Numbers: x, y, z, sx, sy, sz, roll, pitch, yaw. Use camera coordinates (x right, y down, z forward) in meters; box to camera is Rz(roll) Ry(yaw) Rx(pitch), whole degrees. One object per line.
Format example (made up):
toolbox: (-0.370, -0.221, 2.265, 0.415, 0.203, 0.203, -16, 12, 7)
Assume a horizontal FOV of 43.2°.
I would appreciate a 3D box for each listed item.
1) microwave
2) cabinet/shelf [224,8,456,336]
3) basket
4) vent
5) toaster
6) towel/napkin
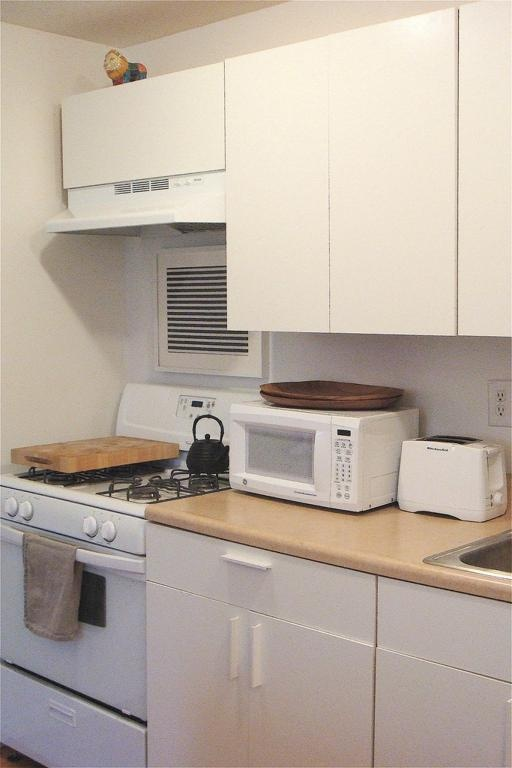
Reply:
microwave: (0.182, 0.119, 1.709, 0.405, 0.259, 0.383, 7, 12, 40)
cabinet/shelf: (0.276, -0.457, 1.613, 0.641, 0.690, 0.358, 8, 17, 36)
basket: (0.214, -0.005, 1.745, 0.313, 0.071, 0.272, 6, 10, 42)
vent: (-0.375, -0.758, 2.063, 0.728, 0.478, 0.382, 1, 3, 36)
toaster: (0.442, 0.215, 1.458, 0.238, 0.171, 0.163, 1, -4, 9)
towel/napkin: (-0.583, 0.584, 1.857, 0.224, 0.291, 0.076, 2, -1, 32)
